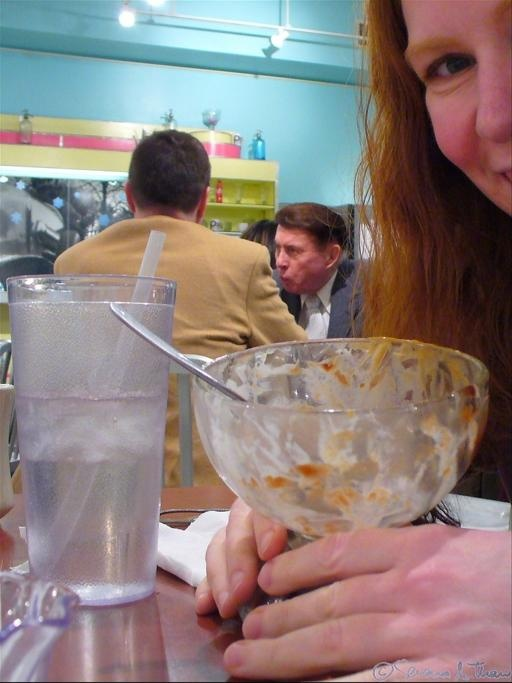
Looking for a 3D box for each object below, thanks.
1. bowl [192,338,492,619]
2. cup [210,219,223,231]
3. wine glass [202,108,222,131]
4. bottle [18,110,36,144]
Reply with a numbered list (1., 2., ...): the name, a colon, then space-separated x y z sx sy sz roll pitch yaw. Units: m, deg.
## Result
1. bowl: 0.054 0.063 0.367 0.157 0.109 0.163 -5 13 1
2. cup: -0.362 -1.066 5.636 0.126 0.122 0.081 2 0 -11
3. wine glass: -0.389 -1.996 5.588 0.184 0.213 0.190 1 0 23
4. bottle: -1.926 -1.780 5.137 0.117 0.285 0.124 2 7 0
